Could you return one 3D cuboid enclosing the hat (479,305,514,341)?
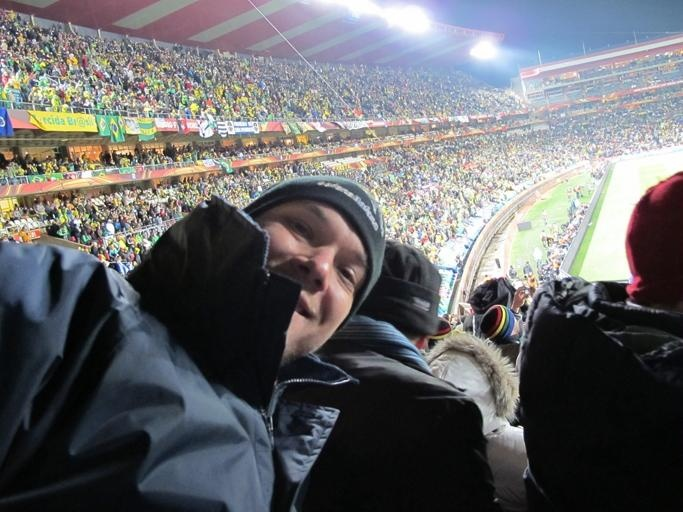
[{"bbox_3d":[0.690,0.309,1.857,0.084,0.150,0.124,19,2,-42],"label":"hat"}]
